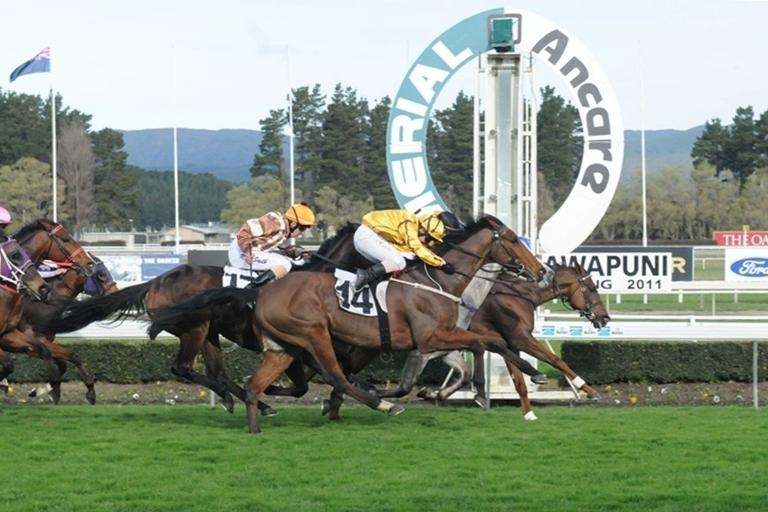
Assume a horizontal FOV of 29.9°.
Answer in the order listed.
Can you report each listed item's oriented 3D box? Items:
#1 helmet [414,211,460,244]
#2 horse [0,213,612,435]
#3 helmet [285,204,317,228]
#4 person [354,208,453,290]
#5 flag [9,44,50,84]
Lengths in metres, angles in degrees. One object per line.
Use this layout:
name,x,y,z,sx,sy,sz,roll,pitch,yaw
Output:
helmet,0.751,-0.417,19.715,0.550,0.338,0.416,-8,14,-31
horse,-0.436,0.840,19.925,7.025,2.511,1.719,-1,0,4
helmet,-1.160,-0.574,19.867,0.447,0.272,0.308,4,26,-8
person,0.214,-0.214,19.460,1.168,1.172,0.457,21,-24,3
flag,-7.156,-3.915,28.895,0.769,0.623,1.819,-1,0,-13
